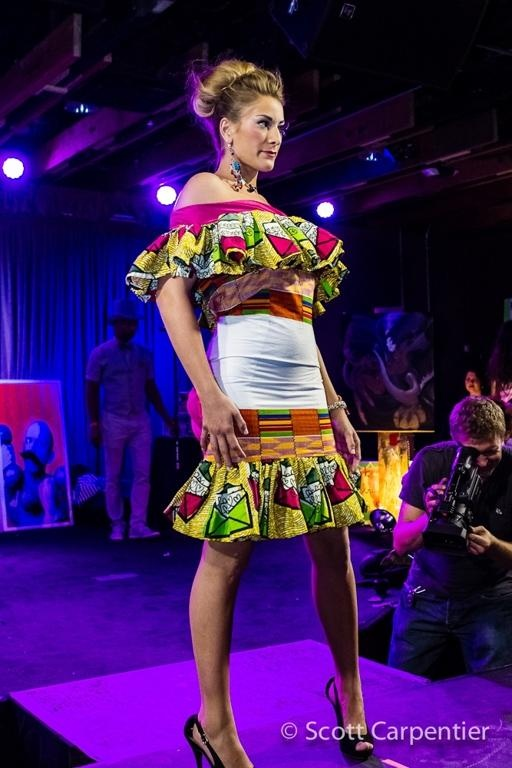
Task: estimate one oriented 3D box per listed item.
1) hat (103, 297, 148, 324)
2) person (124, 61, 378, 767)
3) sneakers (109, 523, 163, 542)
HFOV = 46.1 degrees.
[{"bbox_3d":[-1.243,-0.691,5.629,0.312,0.137,0.378,1,-6,-29],"label":"hat"},{"bbox_3d":[-0.003,0.001,1.006,0.396,1.211,0.402,0,3,1],"label":"person"},{"bbox_3d":[-1.034,1.273,5.148,0.427,0.126,0.149,0,-4,1],"label":"sneakers"}]
